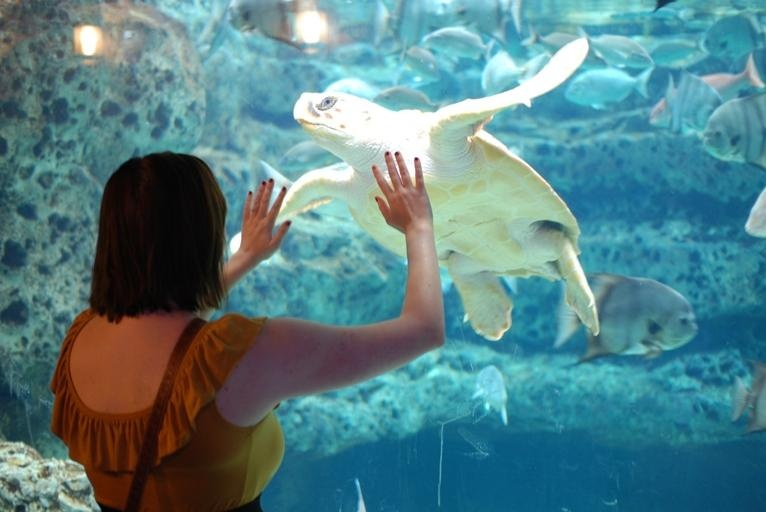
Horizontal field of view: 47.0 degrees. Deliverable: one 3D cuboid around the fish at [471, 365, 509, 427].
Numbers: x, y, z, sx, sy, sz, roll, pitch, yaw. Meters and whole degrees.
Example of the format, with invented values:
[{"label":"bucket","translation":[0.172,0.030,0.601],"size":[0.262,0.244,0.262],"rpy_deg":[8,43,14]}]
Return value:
[{"label":"fish","translation":[1.539,1.989,12.388],"size":[0.484,0.946,0.426],"rpy_deg":[-3,6,-11]}]
